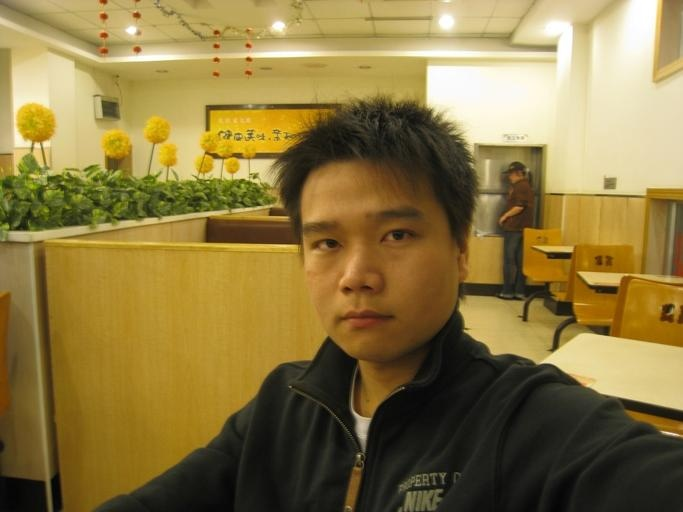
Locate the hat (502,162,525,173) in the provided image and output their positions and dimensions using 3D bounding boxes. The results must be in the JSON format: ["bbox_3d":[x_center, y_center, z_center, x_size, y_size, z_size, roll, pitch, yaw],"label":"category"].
[{"bbox_3d":[2.069,-1.073,6.432,0.220,0.124,0.163,10,8,19],"label":"hat"}]
